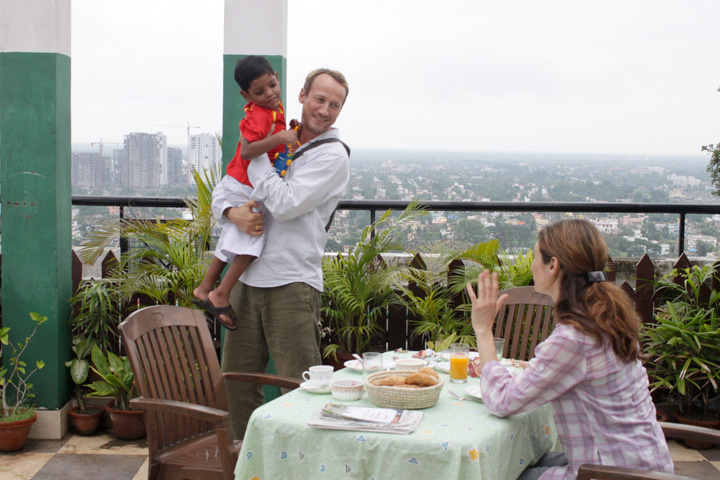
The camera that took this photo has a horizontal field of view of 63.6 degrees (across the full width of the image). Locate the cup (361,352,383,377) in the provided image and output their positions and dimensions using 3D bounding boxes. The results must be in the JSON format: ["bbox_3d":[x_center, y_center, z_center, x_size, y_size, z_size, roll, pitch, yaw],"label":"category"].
[{"bbox_3d":[0.068,0.619,2.911,0.091,0.097,0.102,0,-4,0],"label":"cup"}]

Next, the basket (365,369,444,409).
[{"bbox_3d":[0.215,0.709,2.763,0.240,0.081,0.209,0,1,7],"label":"basket"}]

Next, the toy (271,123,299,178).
[{"bbox_3d":[-0.443,-0.528,3.478,0.114,0.365,0.101,20,20,-18],"label":"toy"}]

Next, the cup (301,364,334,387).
[{"bbox_3d":[-0.223,0.690,2.989,0.148,0.098,0.113,-2,0,-6],"label":"cup"}]
